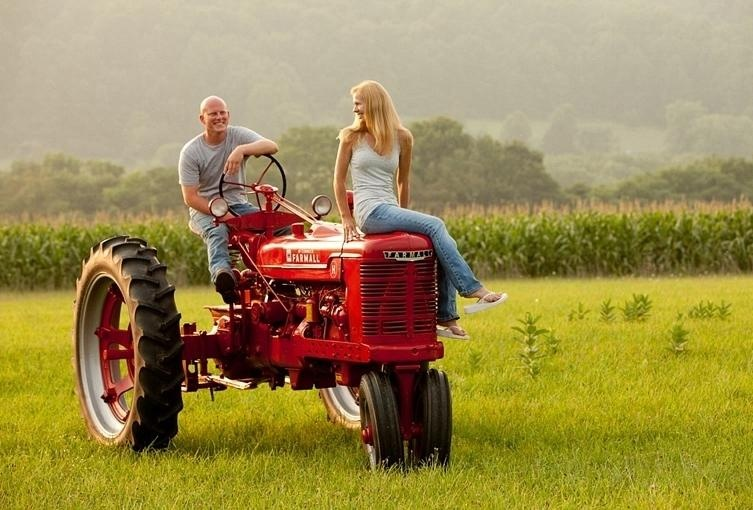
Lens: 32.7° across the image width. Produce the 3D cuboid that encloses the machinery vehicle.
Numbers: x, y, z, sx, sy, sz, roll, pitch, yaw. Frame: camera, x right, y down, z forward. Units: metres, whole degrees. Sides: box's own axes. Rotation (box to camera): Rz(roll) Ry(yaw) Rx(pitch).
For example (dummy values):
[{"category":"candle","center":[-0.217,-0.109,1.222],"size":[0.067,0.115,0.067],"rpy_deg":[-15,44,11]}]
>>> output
[{"category":"machinery vehicle","center":[-3.745,1.736,35.083],"size":[7.073,6.934,9.543],"rpy_deg":[1,-3,-43]}]

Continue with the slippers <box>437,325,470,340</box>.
[{"category":"slippers","center":[2.122,2.069,33.963],"size":[1.015,0.373,0.365],"rpy_deg":[1,-1,8]}]
